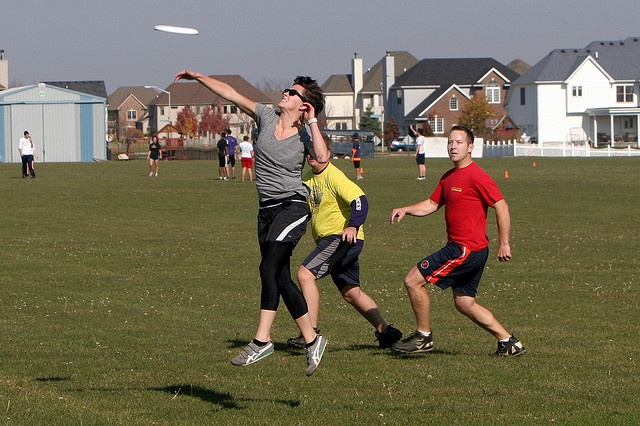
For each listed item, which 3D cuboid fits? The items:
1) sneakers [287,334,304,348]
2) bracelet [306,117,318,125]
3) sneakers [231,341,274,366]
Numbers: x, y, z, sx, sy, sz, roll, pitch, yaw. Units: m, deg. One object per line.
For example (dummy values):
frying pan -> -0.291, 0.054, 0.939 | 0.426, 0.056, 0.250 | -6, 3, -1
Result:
sneakers -> -0.429, 2.229, 19.194 | 0.347, 0.152, 0.130 | 5, 0, 11
bracelet -> -0.121, -1.476, 17.757 | 0.150, 0.099, 0.168 | -3, 5, -12
sneakers -> -1.062, 2.253, 17.735 | 0.712, 0.259, 0.235 | -29, 26, -10
